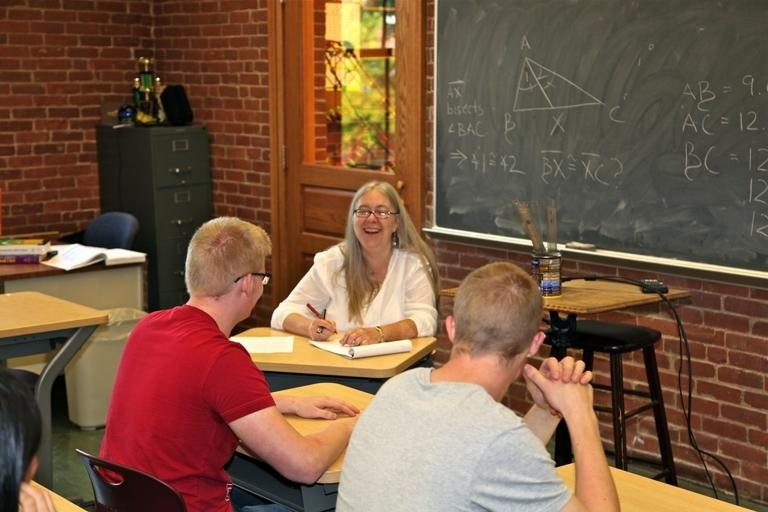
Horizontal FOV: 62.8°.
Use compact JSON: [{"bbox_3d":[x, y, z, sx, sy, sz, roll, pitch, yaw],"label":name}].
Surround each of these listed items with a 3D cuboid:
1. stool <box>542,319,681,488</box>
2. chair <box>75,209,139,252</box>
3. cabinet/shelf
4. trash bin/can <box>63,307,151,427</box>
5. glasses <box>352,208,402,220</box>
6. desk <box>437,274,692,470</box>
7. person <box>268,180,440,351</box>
[{"bbox_3d":[1.048,0.539,3.137,0.551,1.007,0.515,-1,6,-20],"label":"stool"},{"bbox_3d":[-2.065,-0.232,4.805,0.352,0.457,0.335,4,8,13],"label":"chair"},{"bbox_3d":[-2.097,-0.516,5.903,0.647,1.765,0.879,16,21,36],"label":"cabinet/shelf"},{"bbox_3d":[-1.838,0.735,4.340,0.645,0.911,0.564,13,16,29],"label":"trash bin/can"},{"bbox_3d":[-0.040,-0.236,3.383,0.249,0.056,0.079,-2,13,-8],"label":"glasses"},{"bbox_3d":[0.992,0.556,3.411,1.157,1.028,1.340,-1,16,-15],"label":"desk"},{"bbox_3d":[-0.090,0.105,3.270,0.500,1.047,0.563,1,3,4],"label":"person"}]
